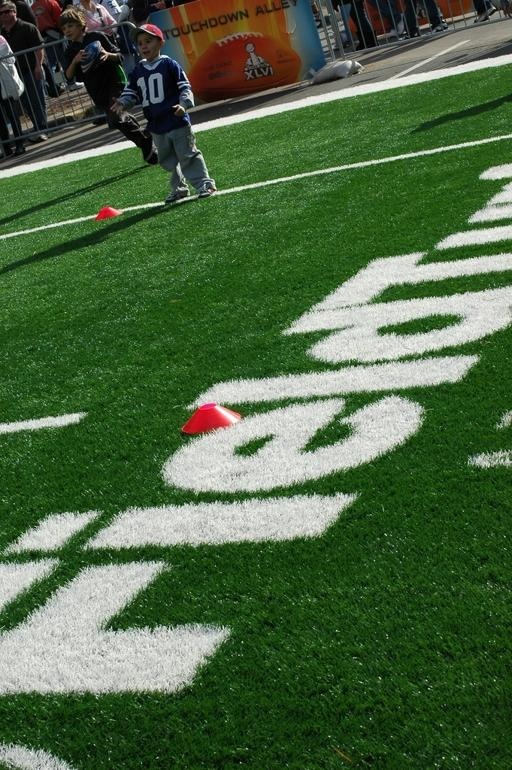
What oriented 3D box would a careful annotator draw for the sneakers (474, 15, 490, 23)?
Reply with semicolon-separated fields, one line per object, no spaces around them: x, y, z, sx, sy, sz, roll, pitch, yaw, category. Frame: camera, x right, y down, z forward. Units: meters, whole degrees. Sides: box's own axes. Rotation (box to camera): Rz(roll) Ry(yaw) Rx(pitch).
2.434;-4.015;14.214;0.162;0.067;0.606;-16;14;13;sneakers

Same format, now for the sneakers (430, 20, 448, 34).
1.988;-3.930;14.279;0.169;0.111;0.390;-16;14;12;sneakers

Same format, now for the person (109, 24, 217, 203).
-0.554;-1.595;7.749;0.522;1.047;0.405;-7;15;39;person

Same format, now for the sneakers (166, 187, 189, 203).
-0.500;-1.178;8.021;0.187;0.077;0.061;-31;31;-35;sneakers

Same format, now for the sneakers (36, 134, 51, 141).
-2.436;-2.859;14.950;0.117;0.065;0.172;-5;8;-9;sneakers

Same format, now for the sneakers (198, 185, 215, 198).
-0.295;-1.173;7.837;0.043;0.056;0.131;-39;1;16;sneakers
